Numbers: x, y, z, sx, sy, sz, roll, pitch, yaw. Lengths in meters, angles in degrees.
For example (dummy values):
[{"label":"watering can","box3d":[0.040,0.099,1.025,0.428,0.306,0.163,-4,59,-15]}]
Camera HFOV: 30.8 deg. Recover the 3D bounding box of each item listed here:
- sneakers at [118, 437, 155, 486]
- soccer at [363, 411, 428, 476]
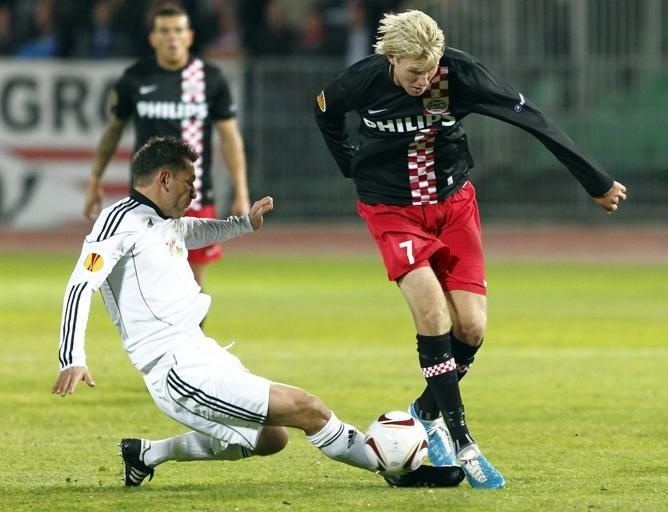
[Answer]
[{"label":"sneakers","box3d":[-1.287,1.330,7.850,0.198,0.361,0.143,2,11,-1]},{"label":"soccer","box3d":[0.409,1.217,7.951,0.448,0.390,0.432,6,6,36]}]
